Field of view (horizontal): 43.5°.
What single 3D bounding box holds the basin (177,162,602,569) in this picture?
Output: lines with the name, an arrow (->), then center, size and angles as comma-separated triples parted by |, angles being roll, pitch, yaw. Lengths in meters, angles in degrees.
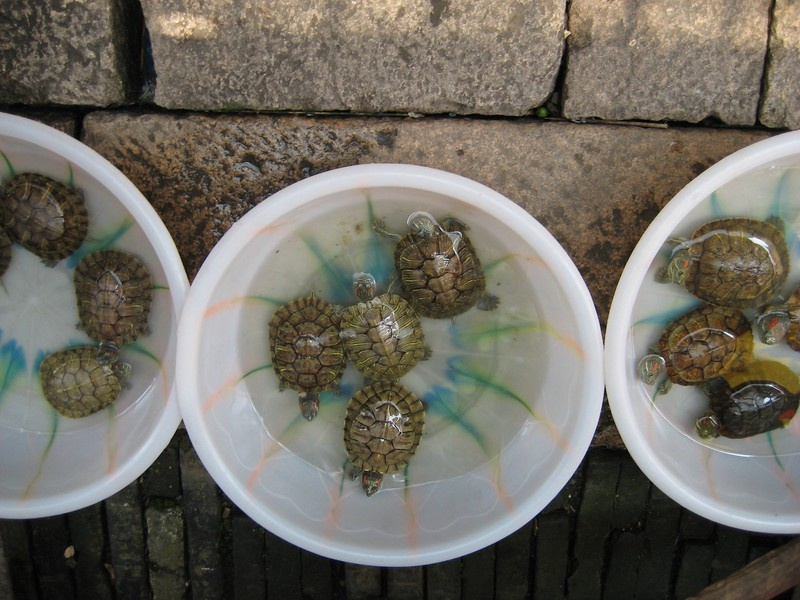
basin -> -0.040, 0.249, 3.517 | 1.458, 0.484, 1.358 | 0, 82, -1

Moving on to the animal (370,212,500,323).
animal -> 0.131, -0.118, 3.571 | 0.297, 0.127, 0.462 | -12, 104, 9

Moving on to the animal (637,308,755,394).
animal -> 1.060, 0.193, 3.616 | 0.374, 0.115, 0.274 | -33, 89, -7
